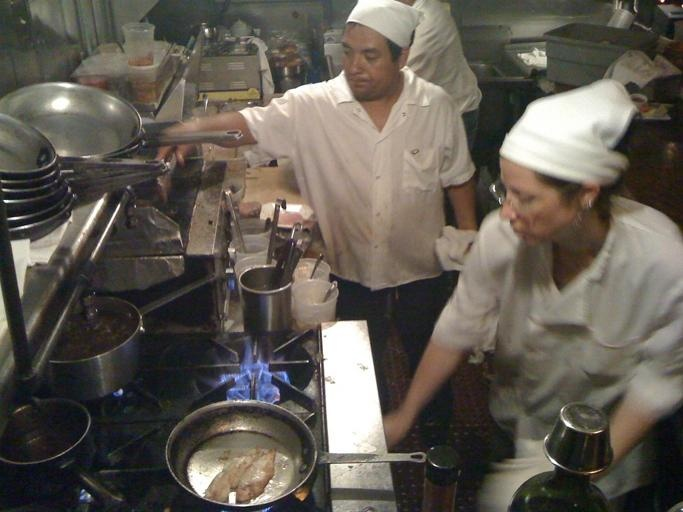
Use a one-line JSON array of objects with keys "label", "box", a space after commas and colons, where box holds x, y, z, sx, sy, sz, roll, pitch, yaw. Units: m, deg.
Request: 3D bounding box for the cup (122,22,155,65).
[{"label": "cup", "box": [-0.940, -0.976, 2.719, 0.126, 0.143, 0.268, -7, 32, -17]}]

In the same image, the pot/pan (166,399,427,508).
[{"label": "pot/pan", "box": [-0.245, 0.591, 1.703, 0.530, 0.077, 0.312, 5, 18, -7]}]

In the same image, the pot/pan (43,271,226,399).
[{"label": "pot/pan", "box": [-0.711, 0.249, 1.725, 0.232, 0.199, 0.298, 2, 30, -2]}]

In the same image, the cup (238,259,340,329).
[{"label": "cup", "box": [-0.182, 0.165, 2.223, 0.379, 0.188, 0.219, -18, 41, -25]}]

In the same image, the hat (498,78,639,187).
[{"label": "hat", "box": [0.610, -0.334, 1.633, 0.339, 0.271, 0.168, -5, 12, -2]}]
